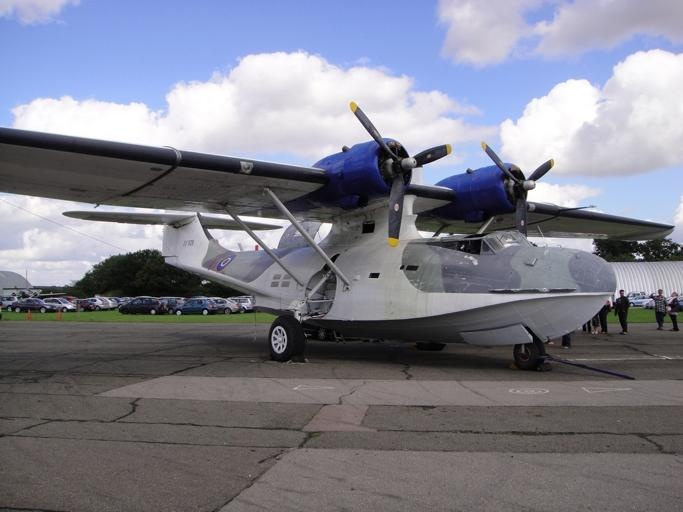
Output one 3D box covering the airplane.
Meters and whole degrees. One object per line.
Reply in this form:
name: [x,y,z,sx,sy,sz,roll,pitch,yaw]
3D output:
airplane: [-1.017,-0.507,11.317,10.471,2.571,11.367,-2,-3,41]
